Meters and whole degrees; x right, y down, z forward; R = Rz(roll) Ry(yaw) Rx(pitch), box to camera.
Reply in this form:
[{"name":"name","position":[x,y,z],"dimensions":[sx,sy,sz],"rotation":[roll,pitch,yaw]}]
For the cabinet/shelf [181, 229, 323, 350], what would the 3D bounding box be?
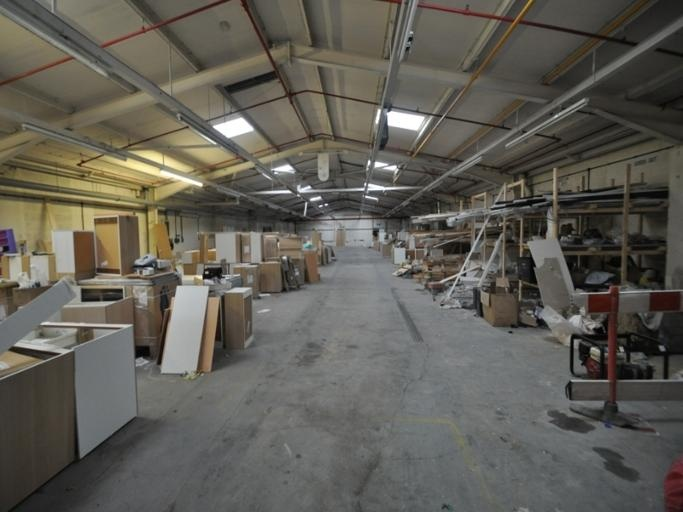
[{"name":"cabinet/shelf","position":[-1.873,0.329,9.013],"dimensions":[2.754,1.554,6.270],"rotation":[-2,7,-3]}]
